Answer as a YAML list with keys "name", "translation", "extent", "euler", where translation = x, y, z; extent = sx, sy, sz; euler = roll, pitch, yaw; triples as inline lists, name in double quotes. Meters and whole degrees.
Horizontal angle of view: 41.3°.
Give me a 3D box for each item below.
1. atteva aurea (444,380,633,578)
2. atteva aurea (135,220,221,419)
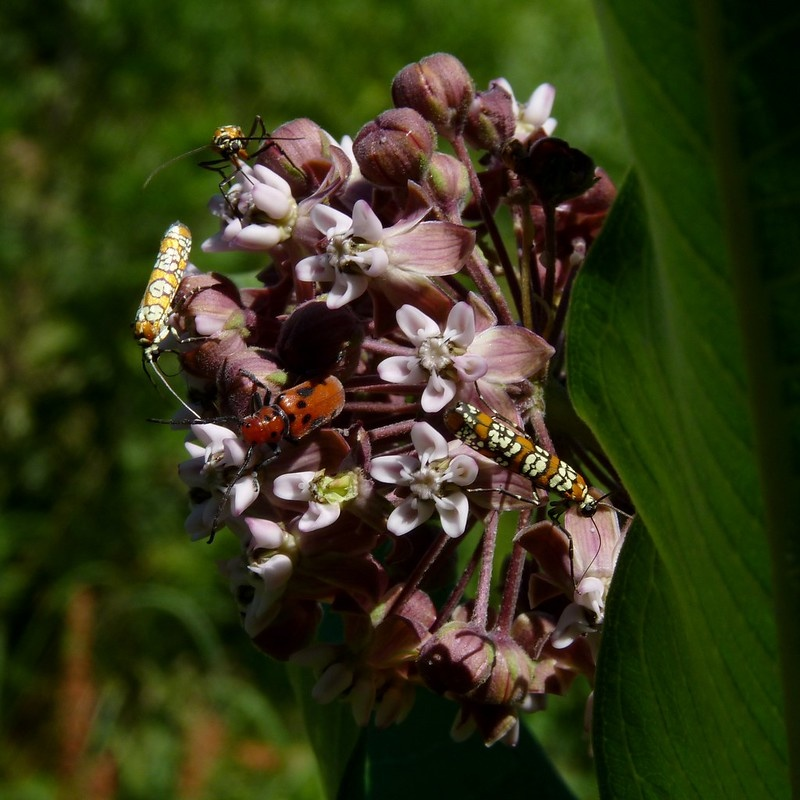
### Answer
- name: "atteva aurea"
  translation: [0.173, 0.093, 1.470]
  extent: [0.319, 0.082, 0.206]
  euler: [38, 25, -9]
- name: "atteva aurea"
  translation: [-0.416, -0.137, 1.890]
  extent: [0.111, 0.319, 0.267]
  euler: [7, 3, -30]
